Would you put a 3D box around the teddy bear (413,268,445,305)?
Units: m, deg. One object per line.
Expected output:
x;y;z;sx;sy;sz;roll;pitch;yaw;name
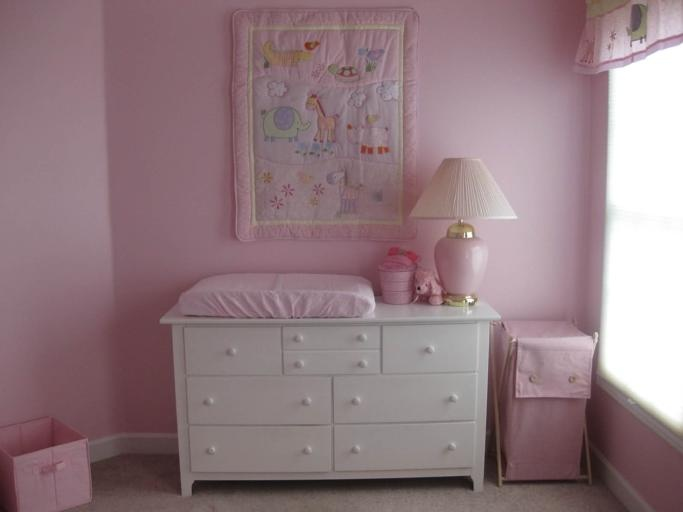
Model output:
0.468;0.166;3.309;0.173;0.187;0.173;-10;6;-38;teddy bear

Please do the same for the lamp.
0.659;-0.144;3.342;0.561;0.811;0.578;-4;8;-15;lamp

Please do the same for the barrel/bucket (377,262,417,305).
0.299;0.145;3.310;0.200;0.181;0.200;0;2;0;barrel/bucket
